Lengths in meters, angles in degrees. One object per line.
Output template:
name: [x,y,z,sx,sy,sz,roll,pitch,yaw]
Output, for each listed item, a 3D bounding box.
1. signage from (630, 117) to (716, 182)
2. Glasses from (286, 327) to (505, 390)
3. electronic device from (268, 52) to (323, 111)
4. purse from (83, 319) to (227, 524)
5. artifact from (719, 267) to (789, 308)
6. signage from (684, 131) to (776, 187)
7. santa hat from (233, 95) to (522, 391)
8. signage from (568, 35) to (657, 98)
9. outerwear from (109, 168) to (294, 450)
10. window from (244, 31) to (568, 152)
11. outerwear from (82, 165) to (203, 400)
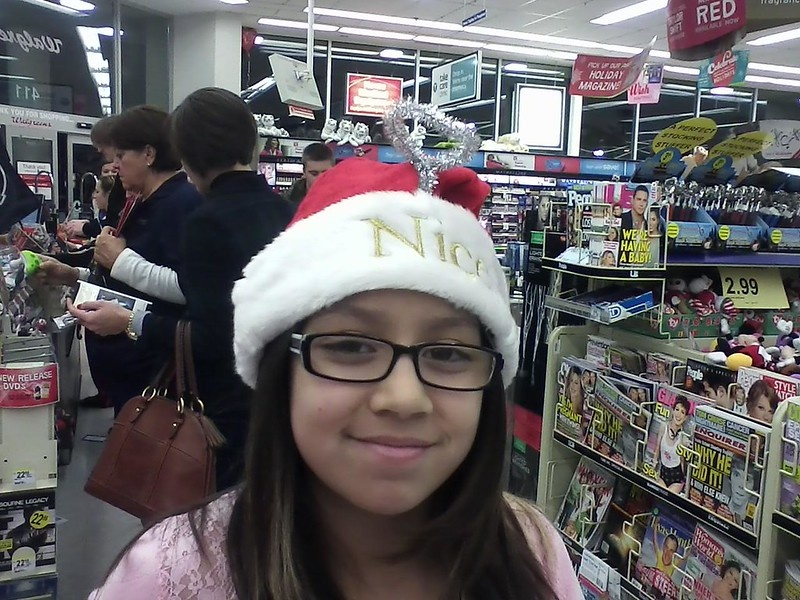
signage: [1.218,-0.619,2.421,0.280,0.341,0.031,-7,-32,-9]
Glasses: [-0.003,0.107,1.030,0.387,0.106,0.094,-1,9,-4]
electronic device: [-1.128,-2.469,6.604,0.282,0.523,0.570,-17,-4,35]
purse: [-0.732,0.363,1.829,0.397,0.618,0.179,19,7,17]
artifact: [1.636,-0.059,2.706,0.243,0.248,0.059,3,-15,-9]
signage: [1.585,-0.630,2.626,0.347,0.140,0.348,15,-1,-40]
santa hat: [-0.063,-0.091,1.281,0.463,0.550,0.522,3,-3,-10]
signage: [2.440,-2.608,6.707,0.528,0.518,1.001,-6,11,-31]
outerwear: [-0.611,0.007,2.014,0.293,0.860,0.602,-7,10,-41]
window: [-1.289,-4.104,11.715,5.716,1.987,0.038,19,23,37]
outerwear: [-1.125,-0.047,2.492,0.732,1.017,0.330,8,1,43]
